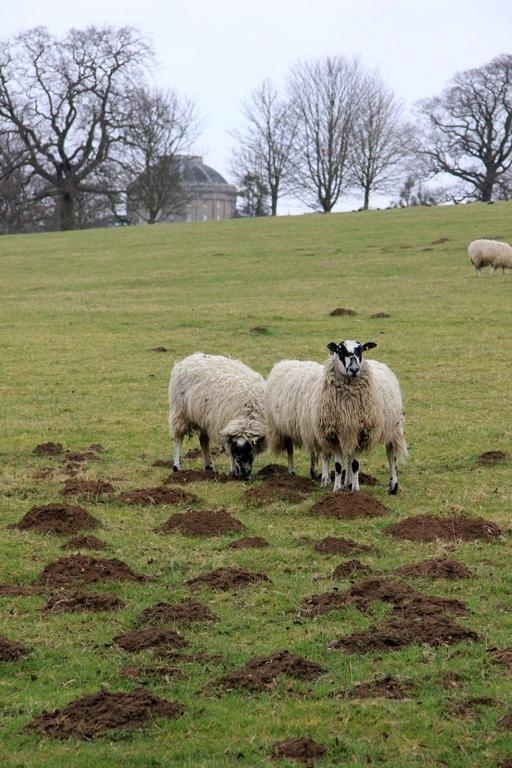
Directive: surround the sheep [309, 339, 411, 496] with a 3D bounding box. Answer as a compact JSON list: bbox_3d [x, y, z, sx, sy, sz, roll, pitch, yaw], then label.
[{"bbox_3d":[1.188,0.319,12.558,0.963,1.686,0.741,-7,11,-31],"label":"sheep"}]
